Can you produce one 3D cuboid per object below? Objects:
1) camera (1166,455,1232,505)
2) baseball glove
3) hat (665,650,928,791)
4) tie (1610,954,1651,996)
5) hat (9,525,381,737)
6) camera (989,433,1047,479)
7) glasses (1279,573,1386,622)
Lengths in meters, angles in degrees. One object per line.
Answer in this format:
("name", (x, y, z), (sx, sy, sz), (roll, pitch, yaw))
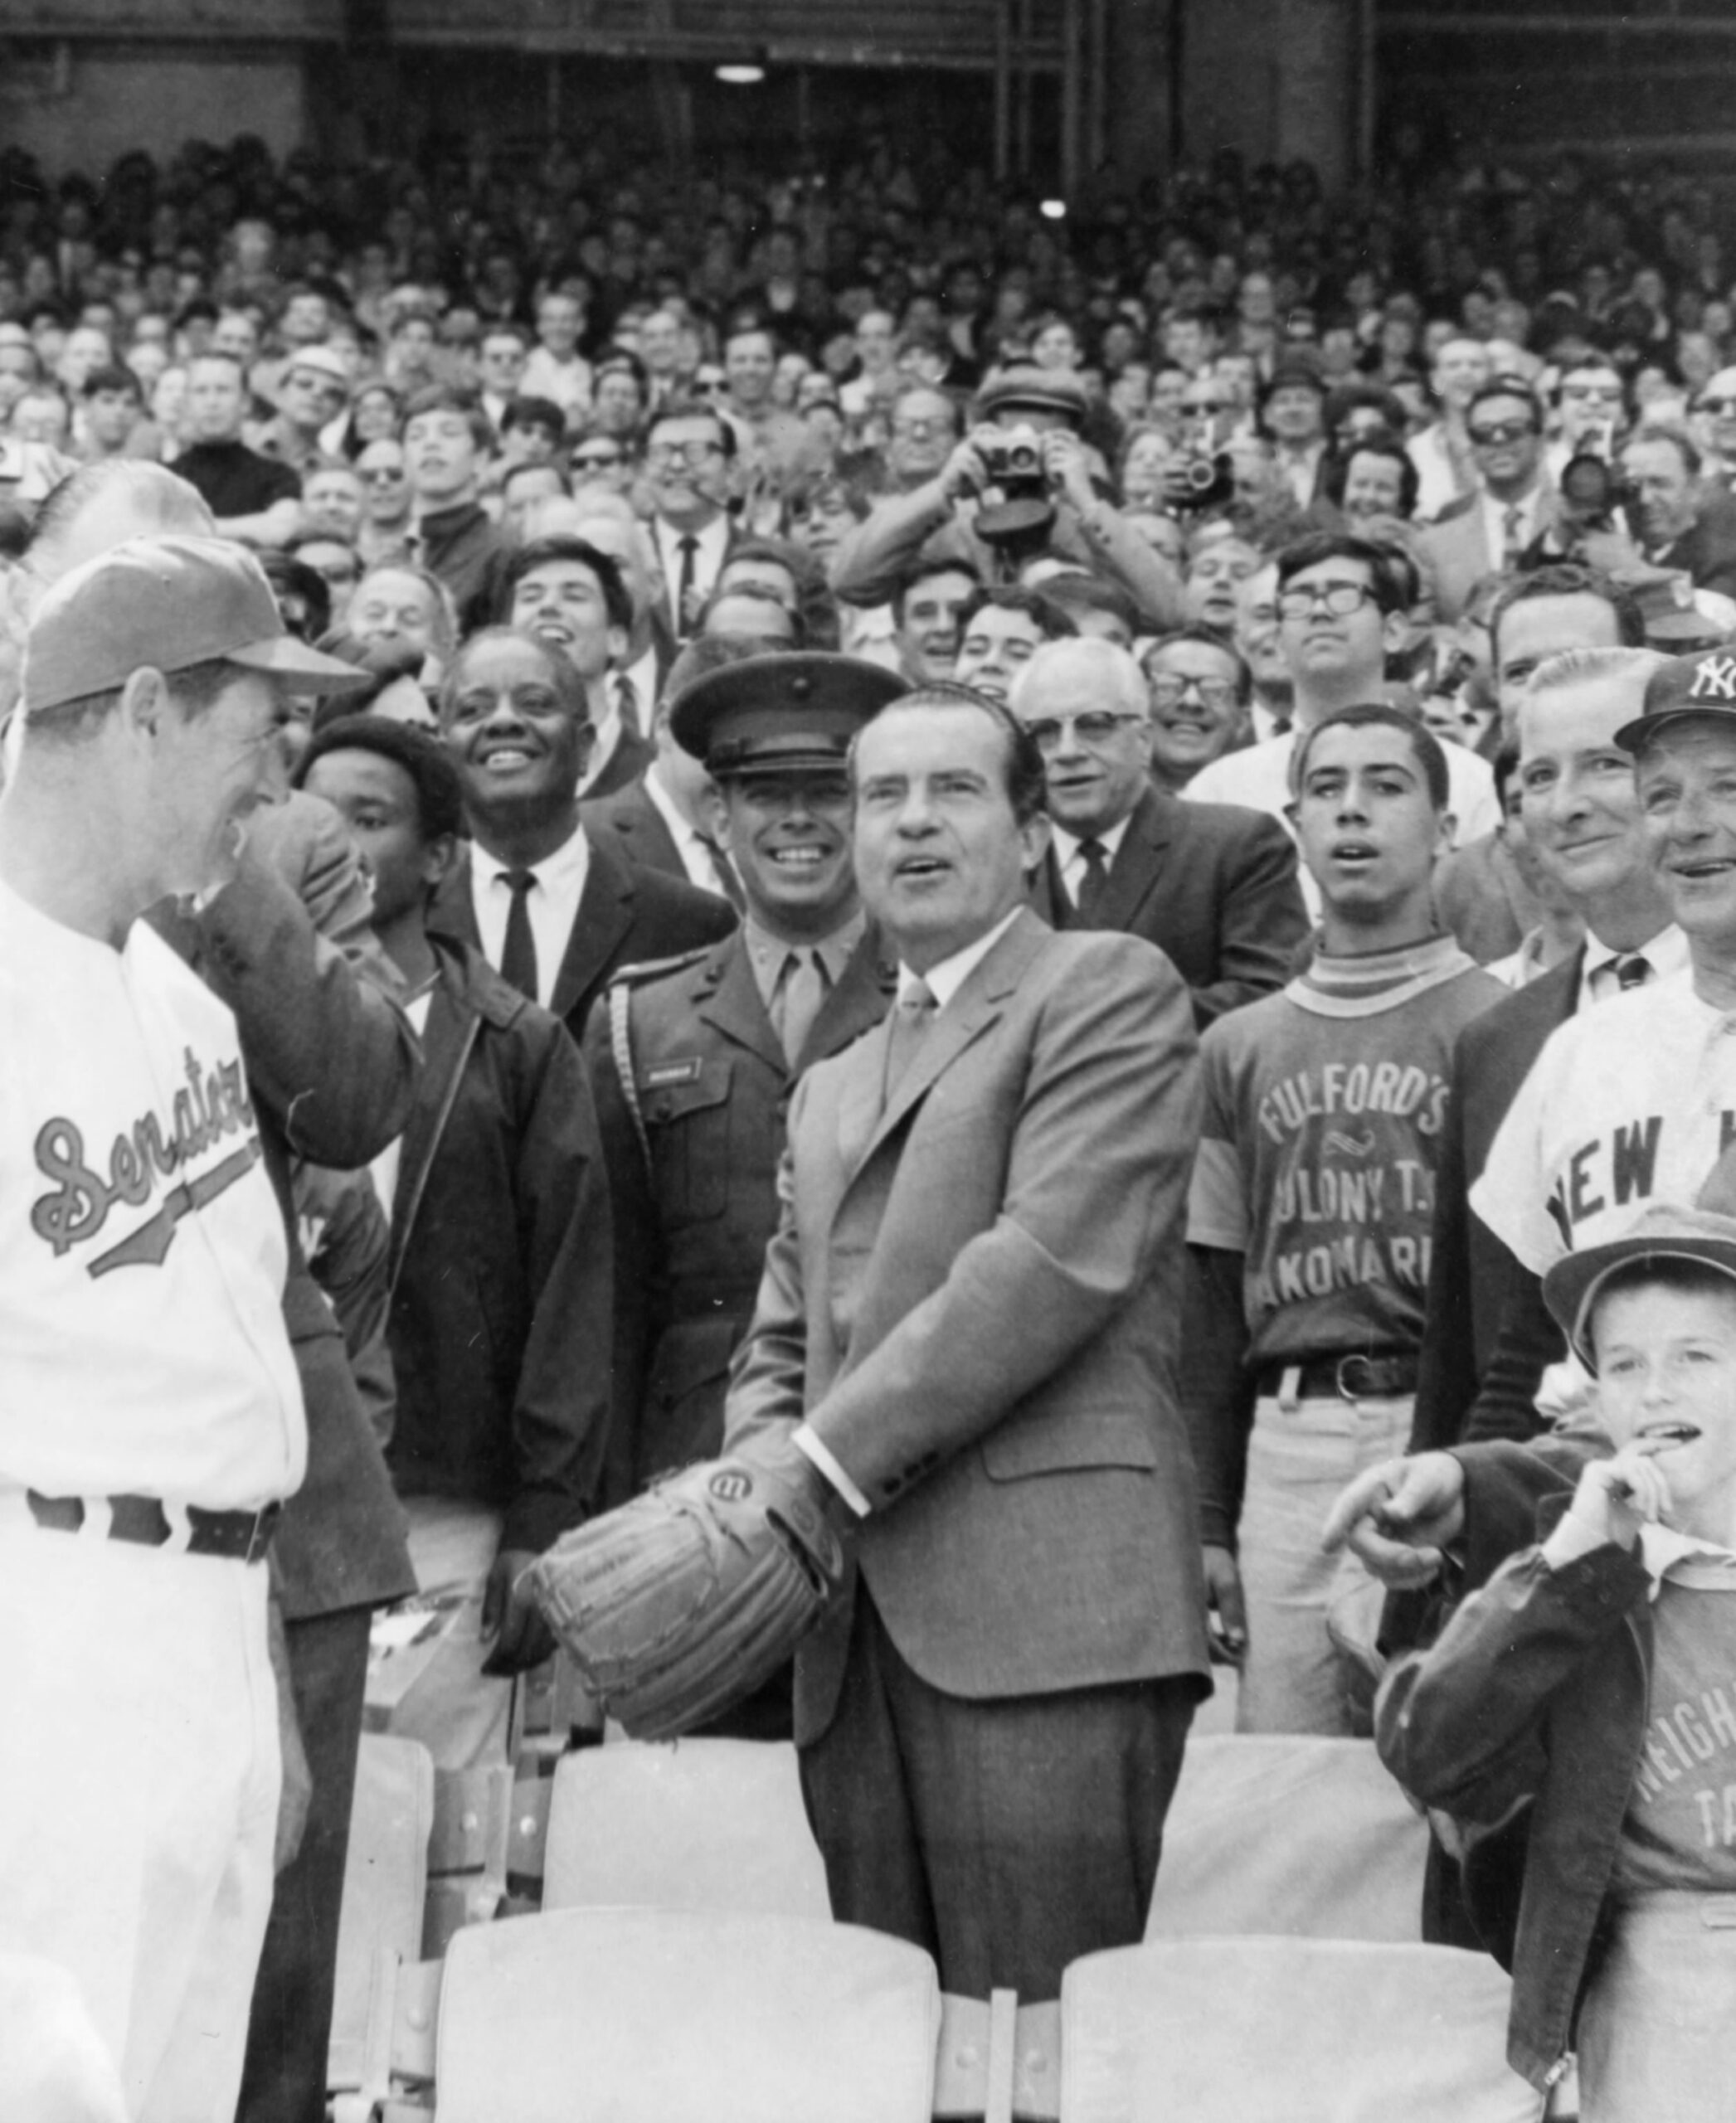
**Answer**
("camera", (0.996, -1.747, 8.773), (0.244, 0.113, 0.255), (11, 5, 17))
("baseball glove", (-0.189, 0.540, 2.981), (0.309, 0.242, 0.123), (-21, -9, -10))
("hat", (-0.125, -0.517, 4.467), (0.449, 0.193, 0.457), (-1, -8, -6))
("tie", (0.969, -0.116, 3.700), (0.047, 0.016, 0.067), (-18, 30, 29))
("hat", (-0.621, -0.381, 2.597), (0.241, 0.126, 0.158), (-12, 5, -22))
("camera", (0.331, -1.357, 6.576), (0.089, 0.088, 0.097), (-2, 1, -5))
("glasses", (0.969, -0.978, 6.172), (0.193, 0.086, 0.084), (0, 10, 7))
